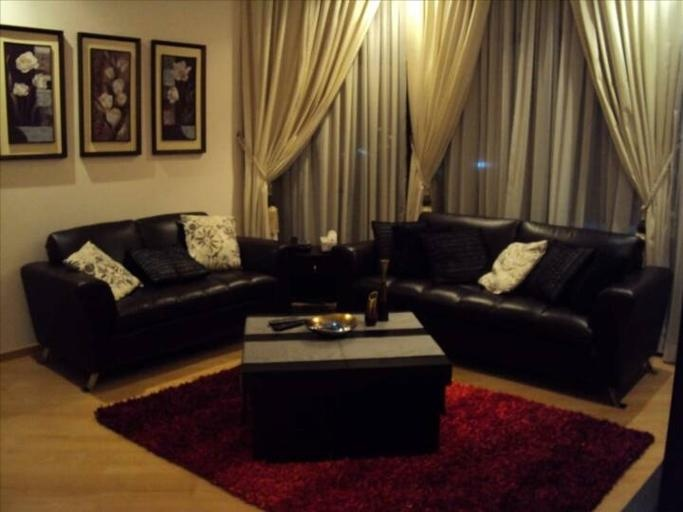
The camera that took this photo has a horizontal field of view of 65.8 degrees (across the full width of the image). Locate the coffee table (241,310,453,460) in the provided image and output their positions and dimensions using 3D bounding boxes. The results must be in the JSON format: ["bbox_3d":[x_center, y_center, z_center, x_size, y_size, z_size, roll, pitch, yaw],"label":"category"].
[{"bbox_3d":[0.011,0.776,2.979,0.793,0.390,0.814,-2,14,-9],"label":"coffee table"}]

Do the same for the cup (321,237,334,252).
[{"bbox_3d":[-0.141,-0.108,5.046,0.123,0.132,0.119,0,-4,0],"label":"cup"}]

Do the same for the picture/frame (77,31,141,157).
[{"bbox_3d":[-1.922,-1.341,4.411,0.142,0.963,0.624,9,18,30],"label":"picture/frame"}]

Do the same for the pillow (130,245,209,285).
[{"bbox_3d":[-1.365,0.065,4.243,0.369,0.119,0.384,-2,35,-41],"label":"pillow"}]

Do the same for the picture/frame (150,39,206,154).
[{"bbox_3d":[-1.494,-1.455,4.855,0.129,0.981,0.629,10,19,33],"label":"picture/frame"}]

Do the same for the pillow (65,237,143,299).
[{"bbox_3d":[-1.805,0.101,3.991,0.473,0.356,0.352,2,16,7],"label":"pillow"}]

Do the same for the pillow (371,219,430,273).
[{"bbox_3d":[0.505,-0.068,4.522,0.407,0.436,0.129,0,-14,20],"label":"pillow"}]
